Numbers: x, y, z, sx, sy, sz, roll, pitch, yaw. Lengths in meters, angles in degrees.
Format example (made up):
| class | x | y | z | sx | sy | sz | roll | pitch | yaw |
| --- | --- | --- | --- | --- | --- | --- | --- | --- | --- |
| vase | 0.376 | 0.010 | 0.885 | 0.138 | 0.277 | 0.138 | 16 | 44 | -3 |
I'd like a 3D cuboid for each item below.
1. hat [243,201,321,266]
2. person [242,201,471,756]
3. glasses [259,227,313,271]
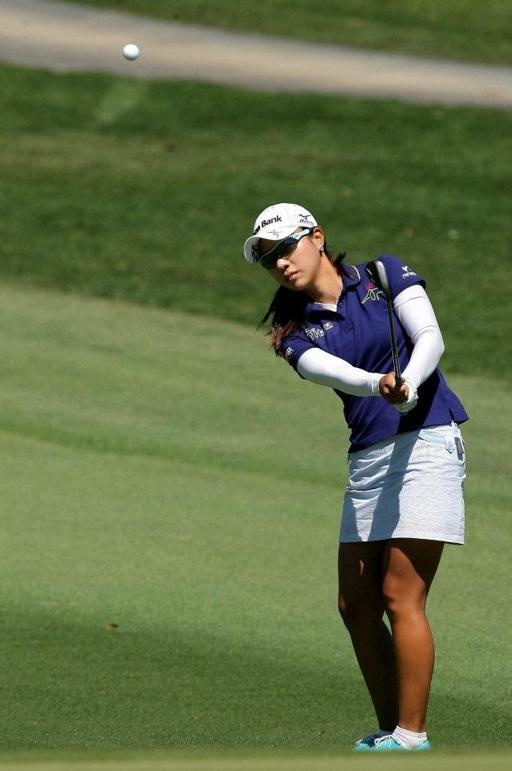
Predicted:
| class | x | y | z | sx | sy | sz | roll | pitch | yaw |
| --- | --- | --- | --- | --- | --- | --- | --- | --- | --- |
| hat | 0.062 | -0.426 | 2.981 | 0.203 | 0.095 | 0.131 | -16 | -2 | -33 |
| person | 0.304 | 0.243 | 2.974 | 0.374 | 1.398 | 0.684 | -6 | 16 | -43 |
| glasses | 0.092 | -0.360 | 2.960 | 0.103 | 0.038 | 0.134 | -31 | -1 | 37 |
